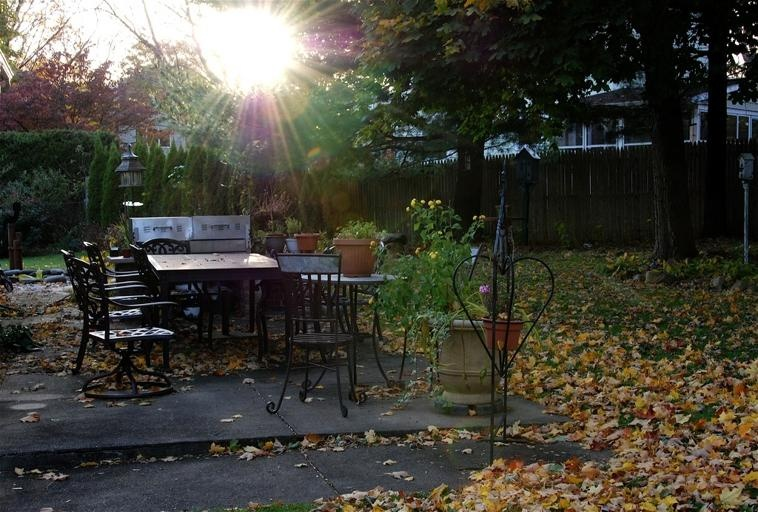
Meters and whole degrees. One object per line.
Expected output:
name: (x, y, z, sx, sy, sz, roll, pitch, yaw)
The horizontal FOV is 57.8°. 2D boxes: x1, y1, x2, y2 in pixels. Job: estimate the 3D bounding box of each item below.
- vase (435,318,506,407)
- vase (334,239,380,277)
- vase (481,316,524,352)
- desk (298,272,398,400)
vase: (0.834, 1.054, 7.028, 0.676, 0.922, 0.722, 1, 4, 6)
vase: (-0.273, 0.015, 7.734, 0.402, 0.333, 0.419, -1, 0, 5)
vase: (1.155, 0.729, 6.377, 0.357, 0.323, 0.572, -2, 2, 8)
desk: (-0.297, 0.833, 8.267, 1.154, 1.367, 1.132, -1, -1, 19)
